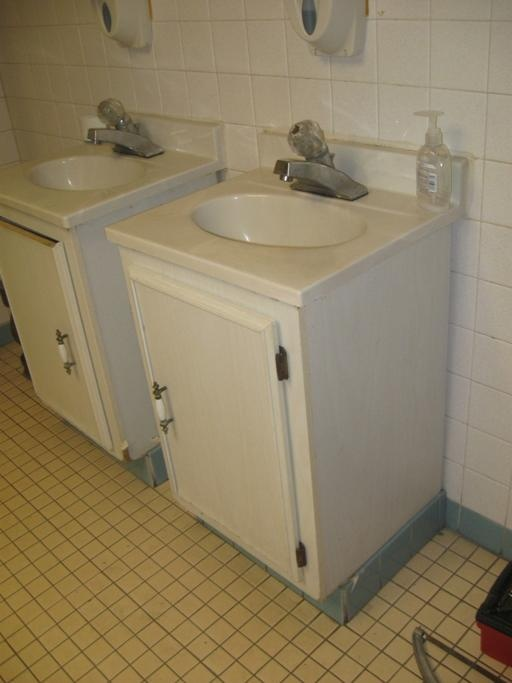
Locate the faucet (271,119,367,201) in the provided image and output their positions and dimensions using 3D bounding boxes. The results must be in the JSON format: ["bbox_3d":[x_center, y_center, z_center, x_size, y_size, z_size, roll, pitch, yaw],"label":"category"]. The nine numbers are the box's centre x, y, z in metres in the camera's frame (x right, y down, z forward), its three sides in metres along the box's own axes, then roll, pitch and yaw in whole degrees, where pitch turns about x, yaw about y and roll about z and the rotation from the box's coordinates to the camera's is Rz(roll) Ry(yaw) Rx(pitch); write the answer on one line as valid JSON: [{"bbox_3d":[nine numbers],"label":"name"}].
[{"bbox_3d":[0.120,-0.337,1.094,0.175,0.136,0.179,26,37,35],"label":"faucet"}]

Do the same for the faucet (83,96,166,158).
[{"bbox_3d":[-0.366,-0.593,1.577,0.190,0.148,0.232,-8,26,-7],"label":"faucet"}]

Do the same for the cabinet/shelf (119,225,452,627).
[{"bbox_3d":[0.078,0.165,1.042,0.502,0.674,0.492,26,46,33],"label":"cabinet/shelf"}]
